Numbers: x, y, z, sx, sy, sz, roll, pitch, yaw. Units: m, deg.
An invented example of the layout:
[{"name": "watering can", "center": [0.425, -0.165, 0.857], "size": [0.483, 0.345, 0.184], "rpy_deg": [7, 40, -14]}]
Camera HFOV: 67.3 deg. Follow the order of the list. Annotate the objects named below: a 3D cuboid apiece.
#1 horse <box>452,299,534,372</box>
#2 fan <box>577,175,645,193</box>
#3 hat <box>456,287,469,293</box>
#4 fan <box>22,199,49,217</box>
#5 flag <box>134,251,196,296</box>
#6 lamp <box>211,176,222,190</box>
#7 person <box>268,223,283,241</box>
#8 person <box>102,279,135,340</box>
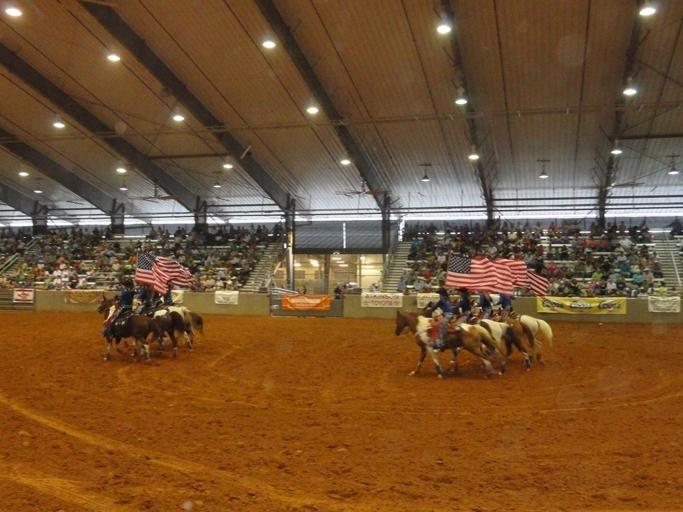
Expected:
[{"name": "horse", "center": [5.264, 2.605, 17.757], "size": [4.989, 2.056, 0.885], "rpy_deg": [7, -18, -20]}, {"name": "fan", "center": [18.937, -4.880, 35.627], "size": [3.647, 0.944, 2.791], "rpy_deg": [0, 3, -13]}, {"name": "hat", "center": [3.953, 1.098, 16.833], "size": [0.556, 0.111, 0.439], "rpy_deg": [1, 0, 11]}, {"name": "fan", "center": [-28.697, -4.429, 47.611], "size": [0.906, 1.687, 2.130], "rpy_deg": [2, 3, 29]}, {"name": "flag", "center": [-7.210, 0.697, 20.554], "size": [1.953, 1.572, 0.823], "rpy_deg": [-1, 3, -17]}, {"name": "lamp", "center": [-9.870, -5.736, 40.302], "size": [1.053, 0.686, 0.852], "rpy_deg": [-1, -3, -10]}, {"name": "person", "center": [-5.424, -1.930, 43.286], "size": [1.318, 1.270, 0.576], "rpy_deg": [9, -5, 32]}, {"name": "person", "center": [-8.323, 2.041, 19.068], "size": [1.063, 2.268, 1.264], "rpy_deg": [-1, 3, -22]}]
